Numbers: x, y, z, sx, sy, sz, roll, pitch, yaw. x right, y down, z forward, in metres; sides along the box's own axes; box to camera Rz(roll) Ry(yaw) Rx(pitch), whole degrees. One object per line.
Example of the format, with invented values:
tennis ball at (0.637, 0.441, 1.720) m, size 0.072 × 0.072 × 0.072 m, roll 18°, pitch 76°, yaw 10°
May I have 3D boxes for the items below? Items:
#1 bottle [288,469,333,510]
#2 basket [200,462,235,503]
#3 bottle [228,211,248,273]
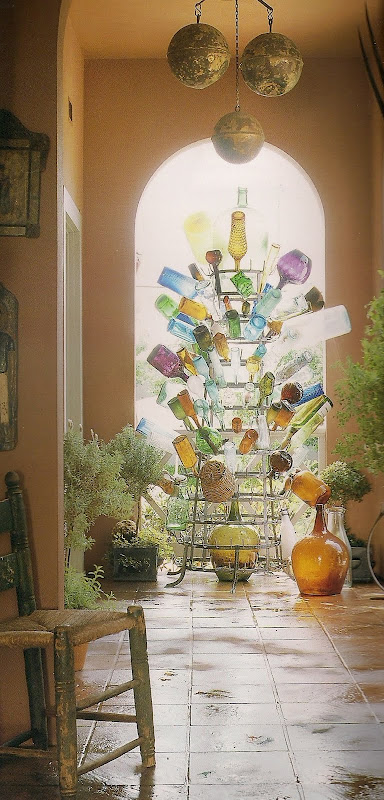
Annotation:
bottle at (0.713, 0.547, 3.969) m, size 0.190 × 0.217 × 0.286 m, roll 3°, pitch -6°, yaw -25°
basket at (0.157, 0.501, 3.996) m, size 0.132 × 0.183 × 0.177 m, roll -24°, pitch 31°, yaw -2°
bottle at (0.263, -0.915, 3.769) m, size 0.111 × 0.246 × 0.357 m, roll 0°, pitch -5°, yaw 3°
